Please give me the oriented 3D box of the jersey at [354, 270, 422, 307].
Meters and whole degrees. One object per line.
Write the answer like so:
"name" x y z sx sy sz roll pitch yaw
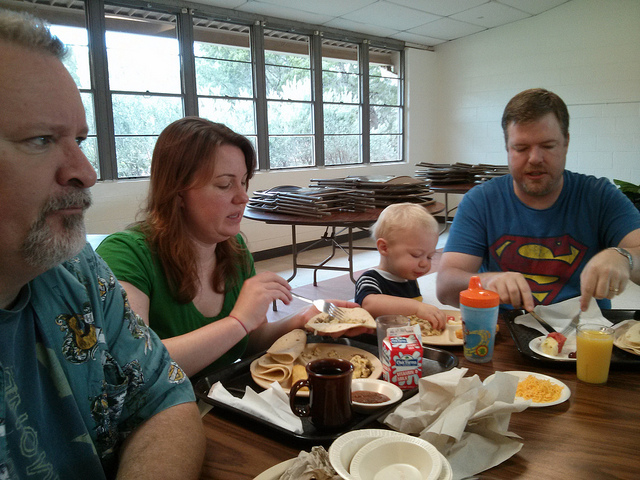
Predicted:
"jersey" 0.296 0.188 2.174 0.302 0.145 0.258 11 11 35

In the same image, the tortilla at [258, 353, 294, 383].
"tortilla" -0.134 0.387 1.422 0.078 0.028 0.076 14 22 21

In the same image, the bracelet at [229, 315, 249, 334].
"bracelet" -0.265 0.276 1.537 0.016 0.057 0.058 -46 15 -4

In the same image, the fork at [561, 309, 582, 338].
"fork" 0.875 0.278 1.630 0.034 0.012 0.181 17 38 43

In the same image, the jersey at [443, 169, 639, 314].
"jersey" 1.036 -0.025 2.226 0.780 0.585 0.409 5 15 33

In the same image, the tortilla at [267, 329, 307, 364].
"tortilla" -0.098 0.339 1.485 0.086 0.035 0.141 13 21 11

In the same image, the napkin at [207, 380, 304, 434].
"napkin" -0.153 0.398 1.180 0.312 0.064 0.096 6 15 36

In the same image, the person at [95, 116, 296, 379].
"person" -0.420 0.037 1.715 0.722 0.871 0.739 5 5 28

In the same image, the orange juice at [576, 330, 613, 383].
"orange juice" 0.757 0.323 1.298 0.083 0.133 0.066 3 14 23

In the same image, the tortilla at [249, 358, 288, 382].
"tortilla" -0.168 0.387 1.396 0.083 0.029 0.147 -13 15 -42

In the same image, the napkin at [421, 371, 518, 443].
"napkin" 0.320 0.350 1.071 0.215 0.128 0.200 2 8 12

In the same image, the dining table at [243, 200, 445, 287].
"dining table" 0.014 0.135 4.698 1.351 0.779 1.691 -6 3 1

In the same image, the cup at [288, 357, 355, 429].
"cup" 0.022 0.360 1.198 0.197 0.141 0.183 5 6 -1
